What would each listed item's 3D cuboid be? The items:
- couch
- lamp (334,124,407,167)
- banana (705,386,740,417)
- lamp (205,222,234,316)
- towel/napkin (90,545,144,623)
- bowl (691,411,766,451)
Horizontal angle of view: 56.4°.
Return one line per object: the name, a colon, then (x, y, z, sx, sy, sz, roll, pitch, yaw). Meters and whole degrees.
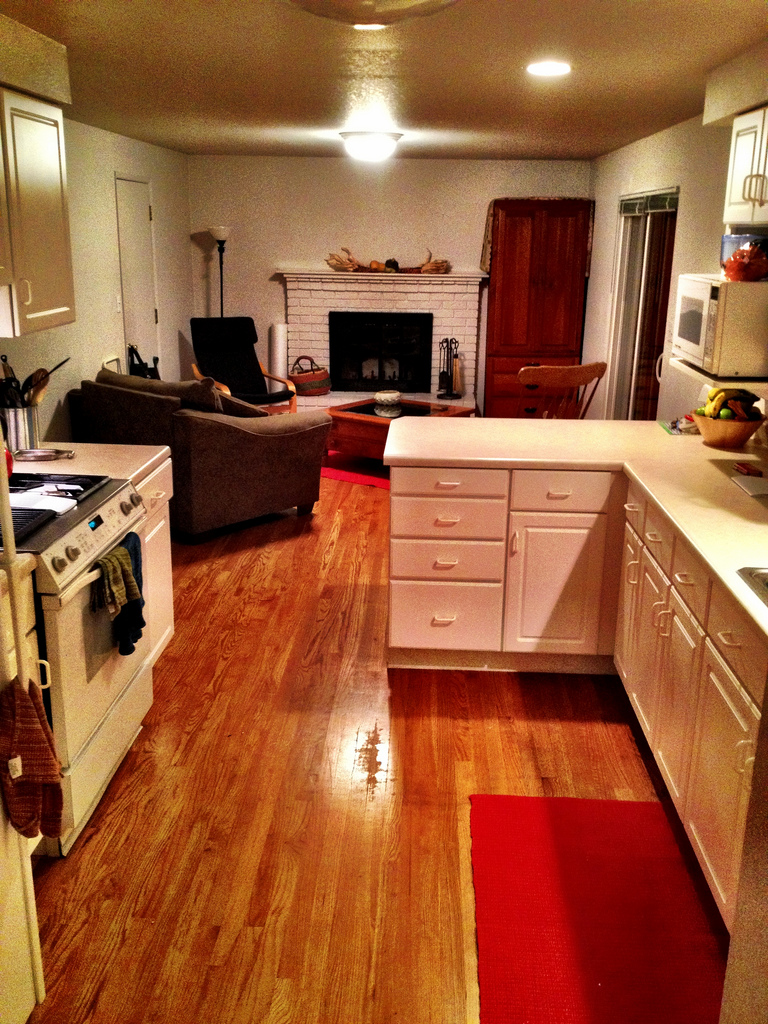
couch: (-1.185, -0.514, 4.680, 1.488, 1.316, 1.100, 14, 22, 34)
lamp: (-0.117, -2.621, 5.061, 0.413, 0.194, 0.400, 3, 10, 10)
banana: (1.354, -0.462, 2.876, 0.106, 0.119, 0.034, 18, -20, 24)
lamp: (-1.739, -2.545, 7.550, 0.210, 0.892, 0.648, -2, 10, -13)
towel/napkin: (-0.745, 0.201, 1.976, 0.067, 0.179, 0.175, -1, 17, 8)
bowl: (1.380, -0.318, 2.877, 0.166, 0.082, 0.179, 0, 17, 0)
